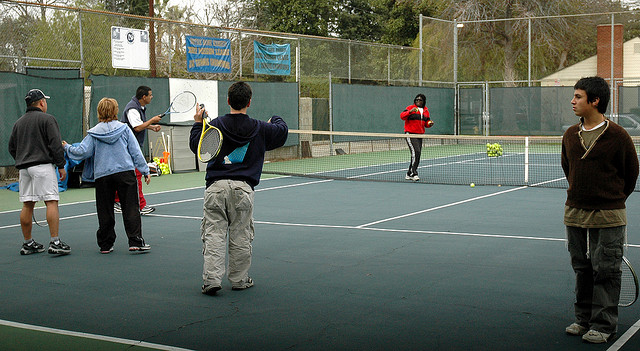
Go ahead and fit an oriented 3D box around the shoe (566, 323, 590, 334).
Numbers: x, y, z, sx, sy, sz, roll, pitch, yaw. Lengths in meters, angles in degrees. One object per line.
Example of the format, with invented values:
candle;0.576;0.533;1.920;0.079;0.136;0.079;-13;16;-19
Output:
shoe;3.222;1.915;6.116;0.292;0.119;0.101;3;-7;6

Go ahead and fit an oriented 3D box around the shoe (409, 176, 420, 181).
shoe;3.135;0.103;16.380;0.291;0.147;0.129;2;10;8

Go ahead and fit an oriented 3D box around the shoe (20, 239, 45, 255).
shoe;-5.185;1.301;8.907;0.428;0.189;0.178;-7;10;-39

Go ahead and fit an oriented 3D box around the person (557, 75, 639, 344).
person;3.353;0.415;5.940;0.815;3.144;0.700;5;11;25

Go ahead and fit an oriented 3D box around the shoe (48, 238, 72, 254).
shoe;-4.627;1.301;8.775;0.415;0.237;0.166;-1;1;-24

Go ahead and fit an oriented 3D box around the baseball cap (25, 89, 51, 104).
baseball cap;-5.082;-1.422;8.902;0.291;0.203;0.400;2;4;29

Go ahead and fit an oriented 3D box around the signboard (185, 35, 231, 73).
signboard;-4.441;-4.817;19.490;0.080;1.403;2.230;16;19;39

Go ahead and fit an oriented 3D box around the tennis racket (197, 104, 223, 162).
tennis racket;-1.677;-0.728;7.358;0.493;1.195;0.135;-30;-38;24

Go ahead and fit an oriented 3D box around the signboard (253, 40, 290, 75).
signboard;-2.105;-5.203;21.595;2.001;1.416;0.191;-8;15;-41

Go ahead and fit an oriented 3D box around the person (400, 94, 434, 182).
person;3.210;-1.266;16.430;0.938;2.861;1.338;3;10;16

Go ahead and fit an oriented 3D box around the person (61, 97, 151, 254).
person;-3.729;-0.002;8.905;1.311;2.753;0.826;5;11;25

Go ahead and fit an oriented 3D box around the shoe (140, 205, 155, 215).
shoe;-4.057;0.830;11.753;0.481;0.197;0.168;-6;6;4

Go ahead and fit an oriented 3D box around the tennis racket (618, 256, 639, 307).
tennis racket;3.889;1.371;6.151;0.202;0.757;0.362;7;12;34

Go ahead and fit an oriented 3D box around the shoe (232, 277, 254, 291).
shoe;-1.147;1.634;7.384;0.132;0.148;0.352;2;3;29

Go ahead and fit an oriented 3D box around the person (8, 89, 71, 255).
person;-4.986;-0.042;8.718;1.095;2.890;0.668;5;11;26

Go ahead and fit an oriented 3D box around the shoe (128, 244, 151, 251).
shoe;-3.249;1.326;8.870;0.369;0.152;0.125;-5;8;-2

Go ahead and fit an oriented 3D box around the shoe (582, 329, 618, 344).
shoe;3.396;1.962;5.952;0.376;0.134;0.139;3;-10;-3

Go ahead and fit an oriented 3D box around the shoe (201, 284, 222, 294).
shoe;-1.586;1.641;7.133;0.299;0.135;0.121;1;-1;35
